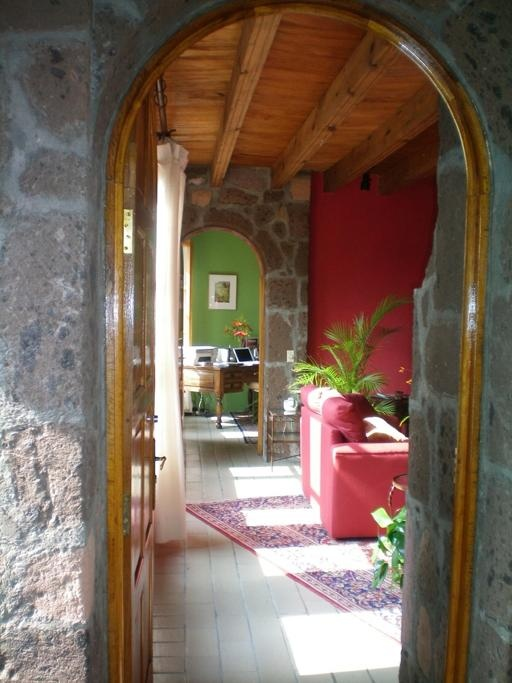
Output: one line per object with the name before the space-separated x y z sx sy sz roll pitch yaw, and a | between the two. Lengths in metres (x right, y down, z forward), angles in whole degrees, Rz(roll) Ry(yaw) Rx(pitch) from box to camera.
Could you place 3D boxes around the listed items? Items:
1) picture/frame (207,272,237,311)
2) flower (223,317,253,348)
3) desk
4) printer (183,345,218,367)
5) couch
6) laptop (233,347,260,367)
picture/frame | -0.522 -0.755 7.810 0.486 0.720 0.054 1 0 -14
flower | -0.244 -0.111 7.782 0.403 0.403 0.435 -1 2 -10
desk | -0.459 0.502 6.797 0.959 0.814 0.731 -2 3 -27
printer | -0.730 0.192 6.926 0.324 0.249 0.260 -2 29 -8
couch | 0.730 0.691 3.819 0.553 0.818 1.367 12 14 -10
laptop | -0.152 0.201 7.332 0.271 0.189 0.237 -2 2 -40
